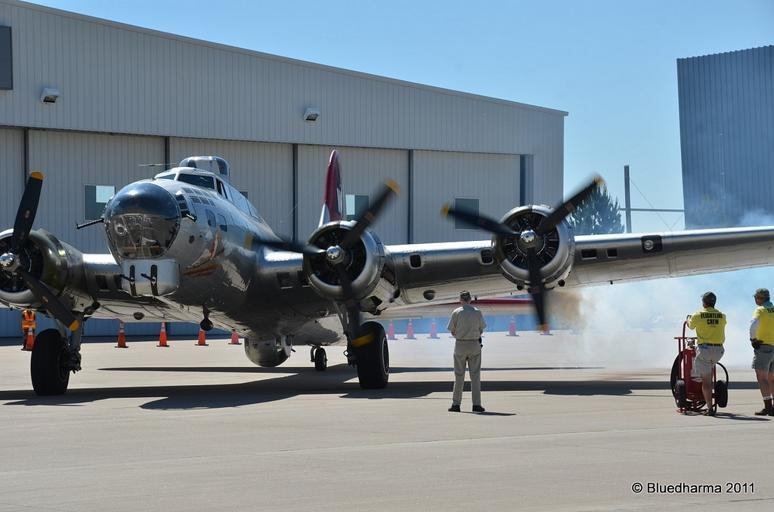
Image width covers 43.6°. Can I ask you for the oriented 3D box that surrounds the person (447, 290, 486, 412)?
[{"bbox_3d":[1.725,2.043,20.909,0.799,1.865,0.912,1,0,5],"label":"person"}]

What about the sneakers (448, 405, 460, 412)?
[{"bbox_3d":[1.435,3.234,20.612,0.202,0.126,0.118,4,-2,6],"label":"sneakers"}]

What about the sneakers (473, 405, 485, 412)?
[{"bbox_3d":[1.967,3.237,20.603,0.208,0.134,0.123,-2,6,-9],"label":"sneakers"}]

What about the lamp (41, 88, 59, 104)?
[{"bbox_3d":[-14.001,-6.607,40.215,0.778,0.626,0.424,1,0,-22],"label":"lamp"}]

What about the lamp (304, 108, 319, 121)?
[{"bbox_3d":[-3.434,-6.405,44.293,0.751,0.522,0.489,1,0,-19],"label":"lamp"}]

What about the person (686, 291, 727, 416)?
[{"bbox_3d":[6.685,2.031,20.271,0.780,2.535,0.511,1,0,3],"label":"person"}]

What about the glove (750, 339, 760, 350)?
[{"bbox_3d":[7.723,1.838,20.248,0.218,0.308,0.194,-2,-6,10],"label":"glove"}]
